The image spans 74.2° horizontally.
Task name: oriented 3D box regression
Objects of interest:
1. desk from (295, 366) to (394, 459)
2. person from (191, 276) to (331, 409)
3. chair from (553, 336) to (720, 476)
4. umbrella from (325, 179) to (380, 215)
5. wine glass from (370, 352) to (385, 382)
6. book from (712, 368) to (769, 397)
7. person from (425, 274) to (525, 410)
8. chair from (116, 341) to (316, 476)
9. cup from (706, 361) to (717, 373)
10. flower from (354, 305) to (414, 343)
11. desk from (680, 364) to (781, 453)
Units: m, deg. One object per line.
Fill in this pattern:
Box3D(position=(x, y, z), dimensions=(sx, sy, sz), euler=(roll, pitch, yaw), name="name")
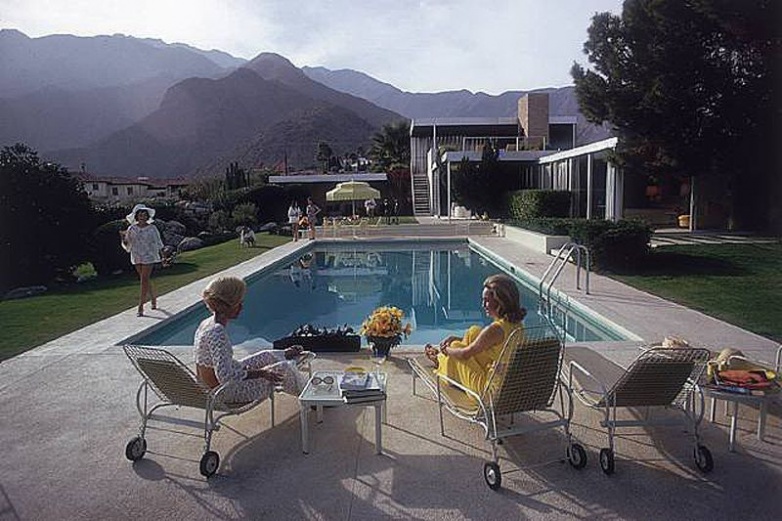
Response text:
Box3D(position=(-0.540, 1.635, 5.997), dimensions=(0.780, 0.564, 1.055), euler=(0, 4, 3), name="desk")
Box3D(position=(-1.536, 0.886, 6.312), dimensions=(0.989, 1.316, 1.578), euler=(7, 8, 39), name="person")
Box3D(position=(2.929, 1.601, 6.470), dimensions=(1.112, 1.381, 2.348), euler=(-2, 1, 4), name="chair")
Box3D(position=(-2.009, -3.505, 26.247), dimensions=(2.124, 1.557, 2.212), euler=(1, 14, 6), name="umbrella")
Box3D(position=(-0.182, 1.424, 7.343), dimensions=(0.201, 0.368, 0.224), euler=(-1, 2, -1), name="wine glass")
Box3D(position=(3.843, 1.318, 5.692), dimensions=(0.396, 0.105, 0.400), euler=(0, 6, 36), name="book")
Box3D(position=(1.318, 0.828, 6.248), dimensions=(1.434, 1.534, 0.963), euler=(11, 14, 40), name="person")
Box3D(position=(-2.001, 1.535, 6.614), dimensions=(1.137, 1.341, 2.605), euler=(-2, 3, 23), name="chair")
Box3D(position=(3.614, 1.192, 5.869), dimensions=(0.113, 0.140, 0.117), euler=(2, -2, 0), name="cup")
Box3D(position=(-0.122, 1.064, 8.640), dimensions=(0.687, 0.479, 0.822), euler=(-1, 4, -2), name="flower")
Box3D(position=(3.917, 1.448, 5.897), dimensions=(0.989, 0.654, 1.025), euler=(-6, 10, -9), name="desk")
